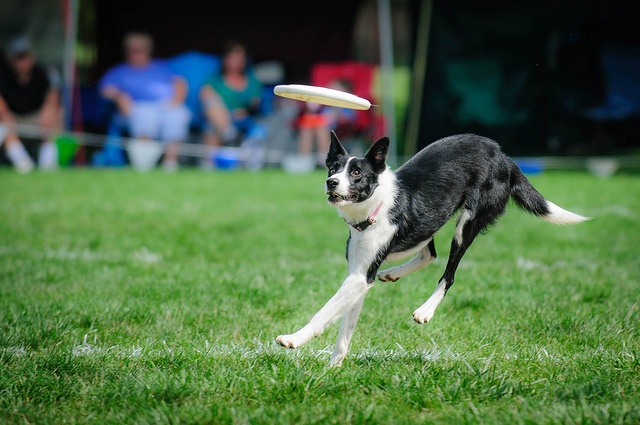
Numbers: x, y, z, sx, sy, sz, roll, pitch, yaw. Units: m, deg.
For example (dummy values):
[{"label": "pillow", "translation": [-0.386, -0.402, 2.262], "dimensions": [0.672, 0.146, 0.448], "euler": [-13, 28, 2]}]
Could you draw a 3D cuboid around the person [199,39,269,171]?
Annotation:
[{"label": "person", "translation": [-1.965, -2.597, 15.704], "dimensions": [0.869, 2.048, 1.554], "euler": [15, 19, 39]}]
